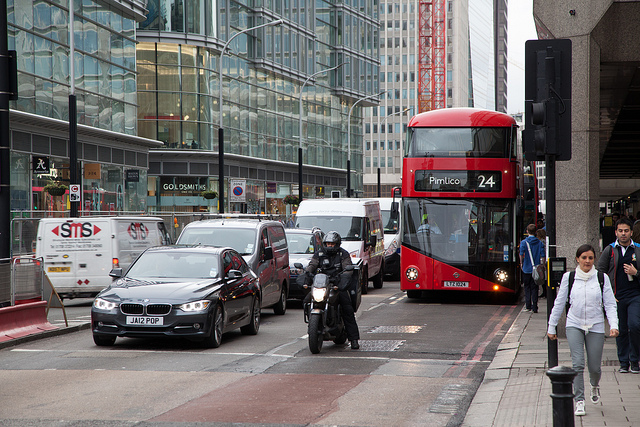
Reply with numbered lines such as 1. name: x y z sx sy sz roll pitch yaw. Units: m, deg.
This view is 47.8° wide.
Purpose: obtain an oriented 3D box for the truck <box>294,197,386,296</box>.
1. truck: 0.873 0.847 26.042 2.353 2.175 3.992 -1 -4 14

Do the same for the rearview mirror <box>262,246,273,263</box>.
1. rearview mirror: -1.280 0.970 17.759 0.188 0.362 0.237 -3 0 -1

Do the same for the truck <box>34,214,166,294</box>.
1. truck: -6.568 1.005 22.131 2.450 1.887 3.920 0 1 20

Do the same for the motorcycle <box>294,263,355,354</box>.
1. motorcycle: 0.116 1.881 14.465 0.692 1.691 1.361 -3 0 39

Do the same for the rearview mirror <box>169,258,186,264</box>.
1. rearview mirror: -3.077 1.017 15.565 0.349 0.122 0.154 -3 0 -9

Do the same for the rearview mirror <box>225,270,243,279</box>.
1. rearview mirror: -1.870 1.315 15.600 0.302 0.193 0.528 -3 -1 3

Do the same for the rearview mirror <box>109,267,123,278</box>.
1. rearview mirror: -4.326 1.251 15.437 0.183 0.102 0.261 2 7 3
